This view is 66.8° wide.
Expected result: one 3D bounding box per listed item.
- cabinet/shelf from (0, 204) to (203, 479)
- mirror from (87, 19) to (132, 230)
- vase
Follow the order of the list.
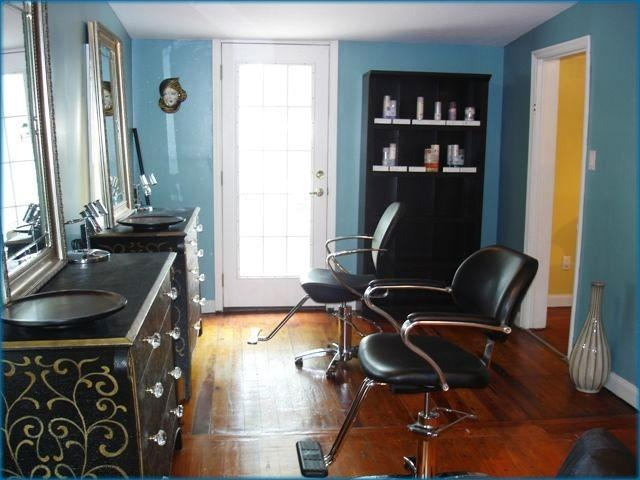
[{"bbox_3d":[-0.896,0.404,1.967,0.437,0.594,1.278,-3,22,-5],"label":"cabinet/shelf"},{"bbox_3d":[-1.479,-0.804,3.394,0.199,1.316,0.943,-3,13,-17],"label":"mirror"},{"bbox_3d":[1.797,0.660,3.254,0.284,0.749,0.280,4,12,17],"label":"vase"}]
